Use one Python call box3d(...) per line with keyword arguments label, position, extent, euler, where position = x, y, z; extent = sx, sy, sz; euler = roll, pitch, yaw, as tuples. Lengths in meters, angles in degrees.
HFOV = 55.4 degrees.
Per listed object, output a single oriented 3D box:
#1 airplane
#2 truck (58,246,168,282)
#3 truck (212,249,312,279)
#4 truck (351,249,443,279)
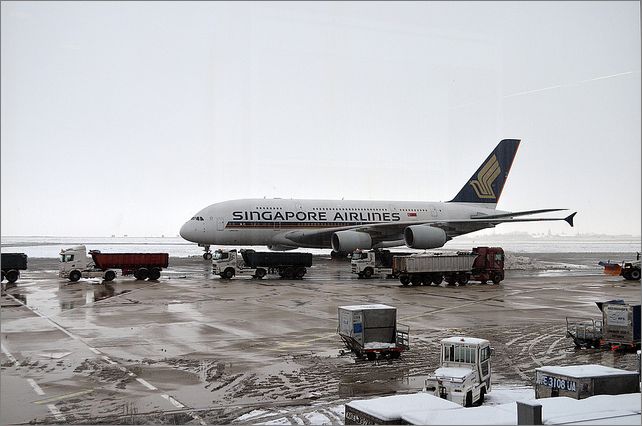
box3d(label="airplane", position=(3.403, -1.723, 56.552), extent=(45.652, 11.091, 12.526), euler=(1, -2, -14))
box3d(label="truck", position=(-14.534, 3.621, 42.096), extent=(8.712, 2.594, 2.706), euler=(2, -3, -15))
box3d(label="truck", position=(-4.248, 3.750, 44.726), extent=(7.966, 2.319, 2.535), euler=(1, -2, -7))
box3d(label="truck", position=(5.130, 3.660, 45.864), extent=(7.398, 2.204, 2.316), euler=(1, -2, -18))
